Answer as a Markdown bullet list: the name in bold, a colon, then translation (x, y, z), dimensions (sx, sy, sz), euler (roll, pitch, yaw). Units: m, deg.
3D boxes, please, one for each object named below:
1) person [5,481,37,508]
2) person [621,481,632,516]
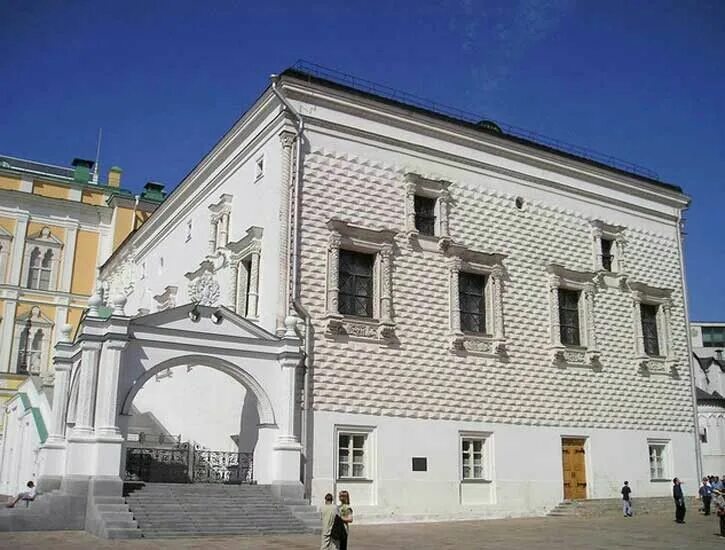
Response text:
- **person**: translation (-8.925, 5.758, 18.899), dimensions (0.634, 0.644, 3.097), euler (8, -17, -24)
- **person**: translation (9.018, 7.613, 24.540), dimensions (0.316, 1.112, 1.855), euler (-5, -16, 18)
